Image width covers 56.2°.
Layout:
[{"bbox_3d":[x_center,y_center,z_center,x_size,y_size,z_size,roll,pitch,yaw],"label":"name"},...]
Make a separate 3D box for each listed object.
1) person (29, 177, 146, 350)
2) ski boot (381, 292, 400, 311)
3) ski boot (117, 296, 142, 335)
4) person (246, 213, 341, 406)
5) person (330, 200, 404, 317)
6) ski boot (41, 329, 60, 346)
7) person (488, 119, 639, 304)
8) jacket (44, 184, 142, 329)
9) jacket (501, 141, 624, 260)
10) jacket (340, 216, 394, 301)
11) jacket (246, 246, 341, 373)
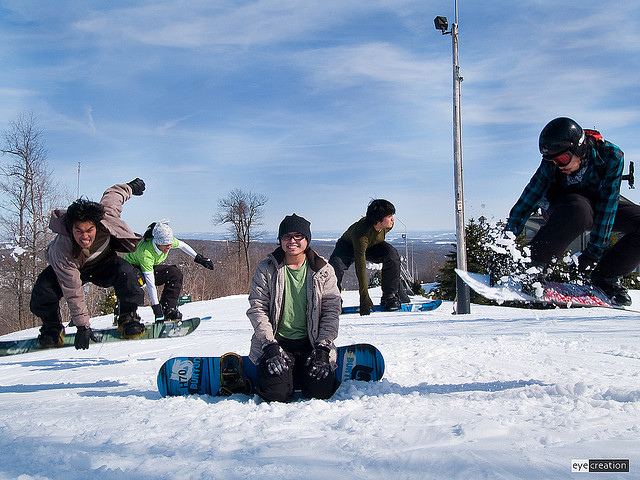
[{"bbox_3d":[-2.495,0.340,6.759,1.181,1.952,1.205,-6,5,-41],"label":"person"},{"bbox_3d":[1.172,0.998,9.797,0.212,0.307,0.309,2,-5,-44],"label":"ski boot"},{"bbox_3d":[-2.252,0.877,7.007,0.273,0.410,0.205,-14,1,-27],"label":"ski boot"},{"bbox_3d":[-0.226,0.589,5.341,0.849,1.639,0.519,-3,4,-7],"label":"person"},{"bbox_3d":[0.723,0.143,9.474,1.341,1.945,1.051,2,25,7],"label":"person"},{"bbox_3d":[-3.049,1.108,6.816,0.147,0.184,0.194,2,-30,-11],"label":"ski boot"},{"bbox_3d":[2.558,-0.269,6.244,1.430,1.902,0.741,-4,4,-20],"label":"person"},{"bbox_3d":[-2.527,0.155,6.804,0.658,1.569,1.091,-1,4,28],"label":"jacket"},{"bbox_3d":[2.560,-0.383,6.084,0.901,1.129,0.829,-4,4,-23],"label":"jacket"},{"bbox_3d":[0.706,0.280,9.050,0.778,1.256,0.752,-2,3,4],"label":"jacket"},{"bbox_3d":[-0.235,0.545,5.387,1.104,1.614,0.460,0,-4,-1],"label":"jacket"}]
